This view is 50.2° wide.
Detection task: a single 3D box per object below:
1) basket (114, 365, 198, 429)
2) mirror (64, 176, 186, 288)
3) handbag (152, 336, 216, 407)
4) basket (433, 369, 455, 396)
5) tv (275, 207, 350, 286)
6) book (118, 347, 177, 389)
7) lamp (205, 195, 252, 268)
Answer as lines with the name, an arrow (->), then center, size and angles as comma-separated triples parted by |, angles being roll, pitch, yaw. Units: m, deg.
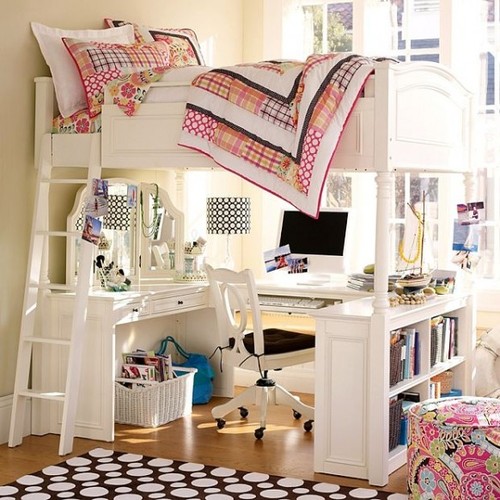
basket -> -0.588, 0.951, 3.526 | 0.265, 0.217, 0.416 | -1, -1, 24
mirror -> -0.852, -0.114, 3.559 | 0.221, 0.690, 0.704 | 3, 5, 38
handbag -> -0.539, 0.905, 3.998 | 0.313, 0.549, 0.500 | -8, -10, 43
basket -> 1.235, 0.839, 3.398 | 0.139, 0.154, 0.162 | -4, -1, 42
tv -> 0.475, -0.038, 3.956 | 0.488, 0.554, 0.187 | 2, -6, 25
book -> -0.692, 0.765, 3.483 | 0.251, 0.088, 0.201 | 1, 4, 29
lamp -> -0.187, -0.123, 4.348 | 0.338, 0.556, 0.578 | 1, -4, -5
